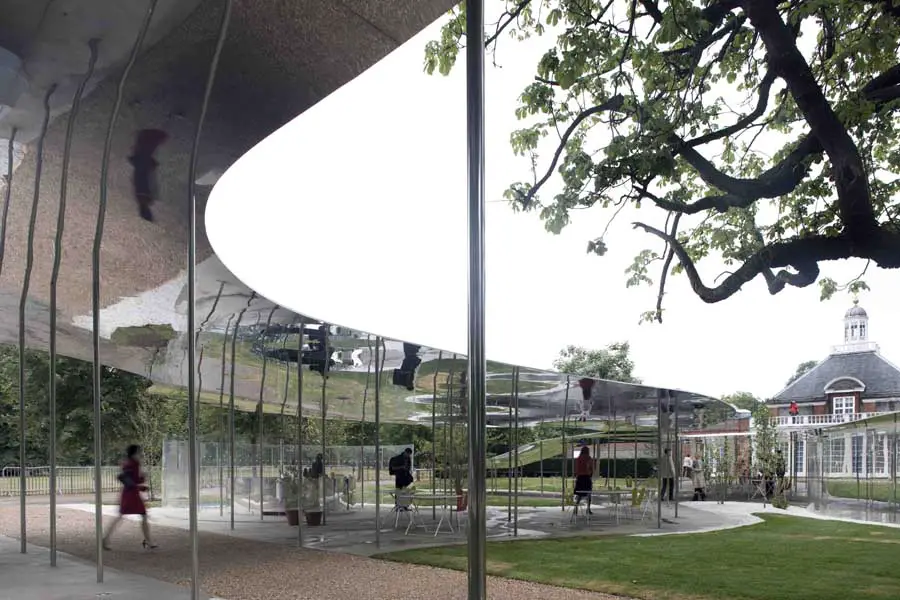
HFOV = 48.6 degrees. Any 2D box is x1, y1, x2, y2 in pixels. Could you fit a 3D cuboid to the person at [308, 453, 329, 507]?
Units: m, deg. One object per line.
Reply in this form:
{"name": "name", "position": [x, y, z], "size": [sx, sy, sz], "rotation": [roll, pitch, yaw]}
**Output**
{"name": "person", "position": [-2.843, 3.940, 21.884], "size": [0.382, 1.209, 0.824], "rotation": [-1, 2, -29]}

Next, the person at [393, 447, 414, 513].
{"name": "person", "position": [-1.076, 4.003, 22.297], "size": [0.459, 1.423, 0.384], "rotation": [-1, 2, -16]}

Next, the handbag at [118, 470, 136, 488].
{"name": "handbag", "position": [-6.257, 3.467, 19.476], "size": [0.471, 0.415, 0.192], "rotation": [0, 2, 17]}

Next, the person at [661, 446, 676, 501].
{"name": "person", "position": [5.809, 4.545, 26.282], "size": [0.292, 1.351, 0.418], "rotation": [-1, -9, -36]}

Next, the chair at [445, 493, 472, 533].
{"name": "chair", "position": [0.174, 4.552, 21.400], "size": [0.332, 0.600, 0.373], "rotation": [2, -17, -39]}

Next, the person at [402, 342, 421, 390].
{"name": "person", "position": [-0.836, 1.419, 21.492], "size": [0.377, 1.031, 1.100], "rotation": [0, 1, -3]}

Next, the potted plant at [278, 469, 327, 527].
{"name": "potted plant", "position": [-3.289, 4.356, 22.204], "size": [1.199, 1.822, 1.082], "rotation": [1, -15, -7]}
